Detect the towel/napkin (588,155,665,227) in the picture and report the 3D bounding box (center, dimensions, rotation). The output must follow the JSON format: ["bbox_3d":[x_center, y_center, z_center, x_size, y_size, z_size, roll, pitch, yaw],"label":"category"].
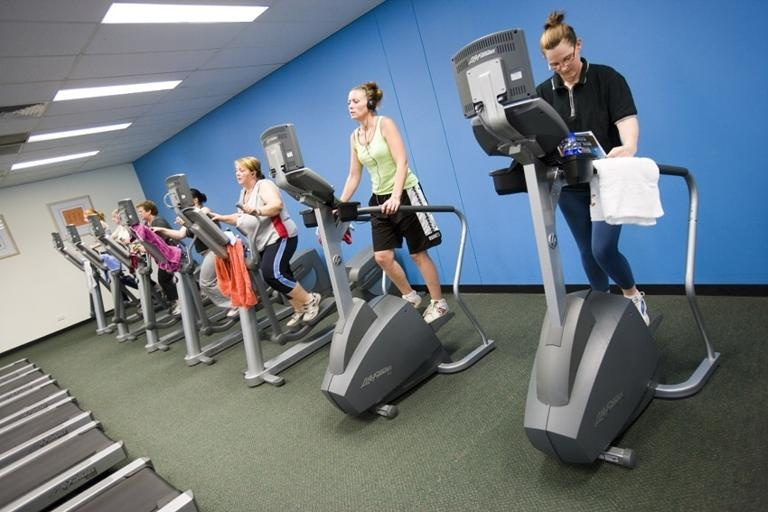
[{"bbox_3d":[1.344,-0.361,2.838,0.362,0.397,0.138,0,3,2],"label":"towel/napkin"}]

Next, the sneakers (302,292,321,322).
[{"bbox_3d":[-0.672,0.475,4.672,0.104,0.284,0.123,-4,-27,39],"label":"sneakers"}]

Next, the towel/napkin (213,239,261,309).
[{"bbox_3d":[-1.291,0.162,4.332,0.276,0.593,0.283,-15,12,-18],"label":"towel/napkin"}]

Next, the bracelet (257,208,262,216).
[{"bbox_3d":[-1.005,-0.352,4.044,0.058,0.060,0.017,17,-34,-31],"label":"bracelet"}]

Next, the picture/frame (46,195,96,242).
[{"bbox_3d":[-5.533,-0.673,8.802,0.057,0.875,0.817,7,16,44],"label":"picture/frame"}]

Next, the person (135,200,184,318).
[{"bbox_3d":[-2.931,0.003,6.548,0.583,1.432,0.516,-13,14,-28],"label":"person"}]

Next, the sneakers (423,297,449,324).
[{"bbox_3d":[0.410,0.425,3.964,0.193,0.136,0.260,-11,12,6],"label":"sneakers"}]

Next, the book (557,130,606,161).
[{"bbox_3d":[1.082,-0.609,2.762,0.189,0.073,0.196,-2,39,2],"label":"book"}]

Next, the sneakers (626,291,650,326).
[{"bbox_3d":[1.577,0.330,3.131,0.110,0.142,0.329,-37,-2,25],"label":"sneakers"}]

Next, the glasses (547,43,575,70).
[{"bbox_3d":[1.078,-1.198,3.040,0.154,0.122,0.093,-7,12,24],"label":"glasses"}]

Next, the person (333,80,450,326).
[{"bbox_3d":[0.076,-0.432,4.031,0.646,1.930,0.832,-18,13,-29],"label":"person"}]

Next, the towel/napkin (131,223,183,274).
[{"bbox_3d":[-2.295,-0.103,5.171,0.634,0.541,0.285,-1,15,42],"label":"towel/napkin"}]
